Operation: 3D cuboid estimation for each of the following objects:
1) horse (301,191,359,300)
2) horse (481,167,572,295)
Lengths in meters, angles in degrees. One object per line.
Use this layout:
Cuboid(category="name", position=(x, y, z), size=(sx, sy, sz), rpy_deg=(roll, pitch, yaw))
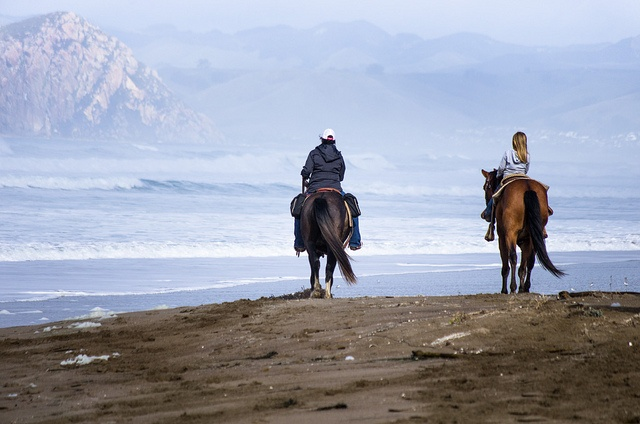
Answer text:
Cuboid(category="horse", position=(0.238, 1.376, 37.692), size=(2.340, 4.667, 1.201), rpy_deg=(3, 5, 13))
Cuboid(category="horse", position=(8.540, 1.078, 37.084), size=(2.392, 5.023, 1.392), rpy_deg=(7, 7, 41))
